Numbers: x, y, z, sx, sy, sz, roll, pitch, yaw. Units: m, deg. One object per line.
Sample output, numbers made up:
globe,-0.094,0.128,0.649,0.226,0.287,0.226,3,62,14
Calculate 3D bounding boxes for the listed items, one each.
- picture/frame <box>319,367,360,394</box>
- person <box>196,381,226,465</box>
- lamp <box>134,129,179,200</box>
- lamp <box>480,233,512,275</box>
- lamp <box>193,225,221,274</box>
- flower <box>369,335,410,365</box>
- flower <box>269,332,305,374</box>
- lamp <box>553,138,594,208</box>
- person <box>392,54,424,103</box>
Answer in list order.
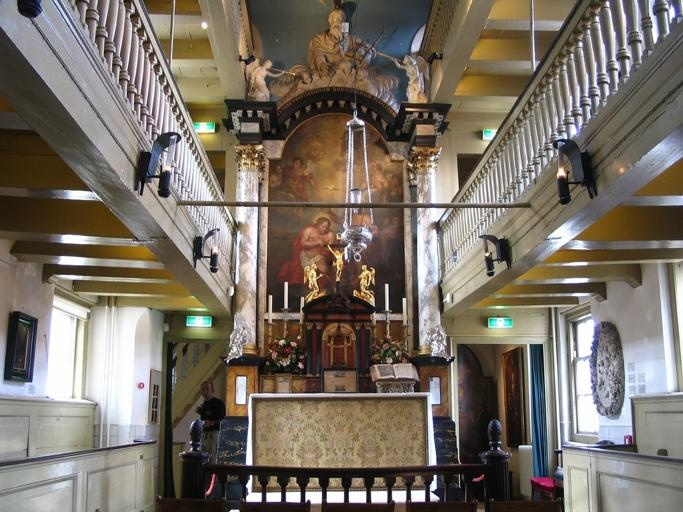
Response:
picture/frame,-0.027,2.041,8.948,0.600,0.381,0.444,1,-3,0
person,-2.404,3.064,10.232,0.516,1.456,1.254,2,-15,-14
lamp,-1.765,-0.864,5.366,0.290,0.648,0.236,3,-14,-1
lamp,2.032,-0.042,7.366,0.306,0.567,0.716,-2,-15,4
lamp,-1.794,-0.048,7.429,0.308,0.684,0.323,-1,-18,-6
flower,0.853,1.753,10.285,0.519,0.525,0.564,0,-7,7
flower,-1.029,1.826,10.238,0.713,0.687,0.505,1,-14,-8
lamp,2.214,-0.797,5.388,0.319,0.660,0.441,-2,-14,3
person,1.460,-3.710,11.650,0.672,0.490,1.051,-6,-51,-1
